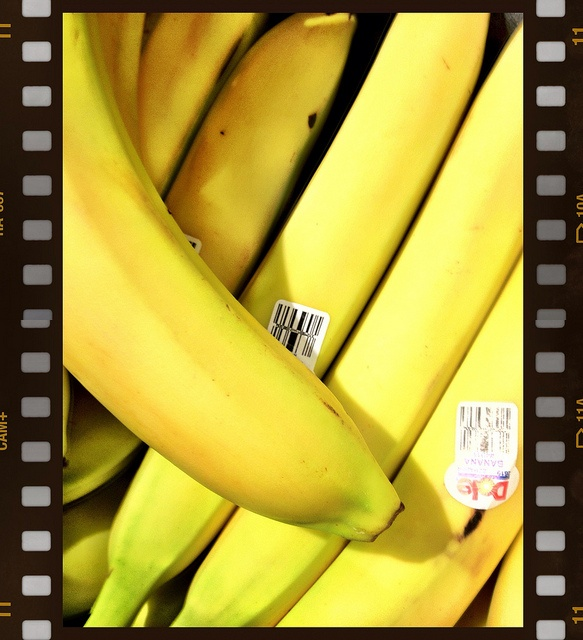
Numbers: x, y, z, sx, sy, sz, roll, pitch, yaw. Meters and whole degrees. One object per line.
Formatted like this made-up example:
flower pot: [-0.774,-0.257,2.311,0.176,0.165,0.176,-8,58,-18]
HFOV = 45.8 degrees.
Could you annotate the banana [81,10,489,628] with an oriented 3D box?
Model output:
banana: [-0.006,-0.003,0.758,0.087,0.630,0.184,20,-2,-1]

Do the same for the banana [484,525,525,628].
banana: [0.249,0.310,0.828,0.027,0.145,0.040,11,-3,-2]

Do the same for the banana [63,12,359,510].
banana: [-0.143,-0.028,0.767,0.188,0.739,0.172,-14,-11,-33]

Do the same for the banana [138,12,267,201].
banana: [-0.104,-0.286,0.826,0.083,0.365,0.082,11,-3,3]

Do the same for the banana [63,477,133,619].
banana: [-0.217,0.258,0.782,0.030,0.144,0.046,23,0,-2]

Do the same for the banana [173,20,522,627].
banana: [0.057,-0.008,0.764,0.096,0.618,0.178,19,1,-3]
